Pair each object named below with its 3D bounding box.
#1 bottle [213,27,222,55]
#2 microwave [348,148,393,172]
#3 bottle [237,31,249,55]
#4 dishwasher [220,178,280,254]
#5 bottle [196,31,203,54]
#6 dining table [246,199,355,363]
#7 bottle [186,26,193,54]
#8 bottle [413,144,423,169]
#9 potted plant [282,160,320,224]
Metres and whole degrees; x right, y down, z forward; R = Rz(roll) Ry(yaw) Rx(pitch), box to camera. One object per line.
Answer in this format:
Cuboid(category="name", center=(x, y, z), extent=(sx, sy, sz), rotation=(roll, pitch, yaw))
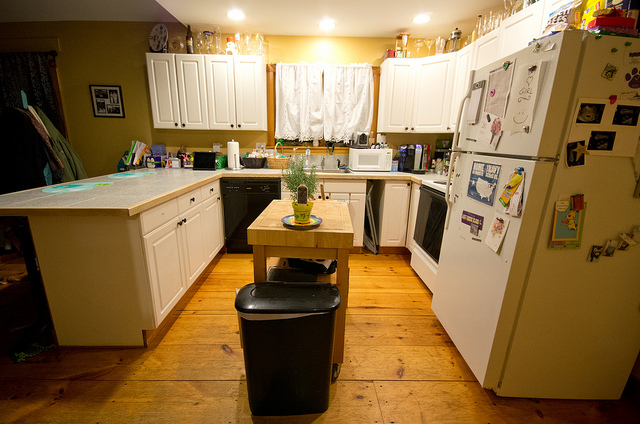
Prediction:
Cuboid(category="bottle", center=(-1.302, -2.169, 5.080), extent=(0.103, 0.280, 0.128), rotation=(-1, 15, -1))
Cuboid(category="microwave", center=(0.643, -0.638, 4.932), extent=(0.441, 0.267, 0.302), rotation=(0, 11, 1))
Cuboid(category="bottle", center=(-0.957, -2.132, 5.044), extent=(0.151, 0.282, 0.162), rotation=(-1, 15, 0))
Cuboid(category="dishwasher", center=(-0.857, -0.008, 5.130), extent=(0.753, 0.867, 0.675), rotation=(2, 11, -3))
Cuboid(category="bottle", center=(-1.506, -2.148, 5.053), extent=(0.126, 0.245, 0.053), rotation=(10, 18, 34))
Cuboid(category="dining table", center=(-0.130, 0.528, 3.360), extent=(0.792, 1.353, 0.514), rotation=(0, 15, 3))
Cuboid(category="bottle", center=(-1.594, -2.108, 4.897), extent=(0.071, 0.321, 0.117), rotation=(-5, 16, -17))
Cuboid(category="bottle", center=(1.218, -0.690, 4.998), extent=(0.107, 0.290, 0.095), rotation=(3, 16, 14))
Cuboid(category="potted plant", center=(-0.195, -0.178, 3.218), extent=(0.346, 0.537, 0.302), rotation=(-4, -5, -16))
